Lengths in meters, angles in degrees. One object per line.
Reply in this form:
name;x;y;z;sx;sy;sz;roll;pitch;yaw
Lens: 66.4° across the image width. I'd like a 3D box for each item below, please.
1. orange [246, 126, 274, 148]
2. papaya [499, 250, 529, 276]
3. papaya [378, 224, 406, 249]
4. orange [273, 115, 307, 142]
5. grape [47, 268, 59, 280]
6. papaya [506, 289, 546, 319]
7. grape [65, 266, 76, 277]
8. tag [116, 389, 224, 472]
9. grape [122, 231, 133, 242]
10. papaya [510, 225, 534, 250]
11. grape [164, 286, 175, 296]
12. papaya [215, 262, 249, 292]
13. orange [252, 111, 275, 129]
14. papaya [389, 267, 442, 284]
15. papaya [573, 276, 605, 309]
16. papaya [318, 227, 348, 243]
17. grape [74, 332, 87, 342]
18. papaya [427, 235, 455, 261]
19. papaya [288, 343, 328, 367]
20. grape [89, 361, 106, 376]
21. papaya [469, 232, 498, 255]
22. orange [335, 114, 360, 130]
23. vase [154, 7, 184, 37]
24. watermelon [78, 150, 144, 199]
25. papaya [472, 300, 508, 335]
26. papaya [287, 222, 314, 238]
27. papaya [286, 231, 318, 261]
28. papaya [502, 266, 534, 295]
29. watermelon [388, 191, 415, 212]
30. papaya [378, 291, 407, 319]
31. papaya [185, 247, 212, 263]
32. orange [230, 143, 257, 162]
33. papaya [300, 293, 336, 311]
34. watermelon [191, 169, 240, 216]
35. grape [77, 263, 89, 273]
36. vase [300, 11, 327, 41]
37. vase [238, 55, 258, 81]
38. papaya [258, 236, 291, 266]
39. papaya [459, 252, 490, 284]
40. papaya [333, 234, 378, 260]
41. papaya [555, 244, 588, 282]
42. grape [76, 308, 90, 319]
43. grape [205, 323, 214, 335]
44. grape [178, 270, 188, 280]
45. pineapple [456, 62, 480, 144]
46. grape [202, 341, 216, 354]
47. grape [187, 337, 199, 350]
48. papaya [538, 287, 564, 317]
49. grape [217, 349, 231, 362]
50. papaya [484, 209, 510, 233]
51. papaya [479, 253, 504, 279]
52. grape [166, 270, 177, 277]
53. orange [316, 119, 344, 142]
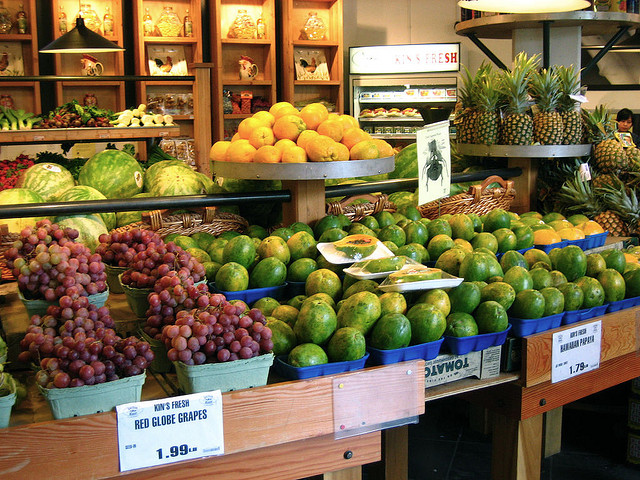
orange;-0.226;-0.391;1.850;0.100;0.077;0.094;-3;14;-7
papaya;0.652;0.075;1.651;0.067;0.086;0.069;-24;-17;17
papaya;0.264;-0.023;1.762;0.085;0.091;0.082;6;19;17
orange;-0.115;-0.421;1.853;0.129;0.095;0.085;-2;14;-1
grape;-0.673;0.086;1.231;0.026;0.029;0.026;6;5;37
papaya;0.598;0.194;1.451;0.095;0.069;0.069;-28;43;22
grape;-0.626;0.079;1.224;0.024;0.027;0.025;14;9;-41
tag;-0.323;0.405;1.036;0.209;0.130;0.009;-4;0;-20
grape;-0.564;-0.009;1.424;0.028;0.025;0.027;7;30;26
papaya;0.788;-0.006;1.945;0.092;0.102;0.086;2;-10;-5
grape;-0.366;0.124;1.184;0.020;0.017;0.019;-6;11;-6
papaya;-0.265;0.098;1.465;0.086;0.078;0.085;-7;18;-32
orange;-0.220;-0.466;1.903;0.068;0.072;0.084;25;-7;-27
papaya;0.277;0.103;1.413;0.156;0.023;0.073;-2;14;0
papaya;0.851;0.159;1.532;0.098;0.110;0.100;2;5;27
papaya;0.045;-0.017;1.739;0.072;0.051;0.050;-7;-13;-6
grape;-0.509;0.205;1.036;0.019;0.018;0.021;-24;49;1
papaya;0.420;0.022;1.777;0.092;0.099;0.090;-8;12;-25
papaya;-0.030;0.280;1.175;0.067;0.048;0.051;-12;16;-18
grape;-0.454;0.264;1.007;0.027;0.025;0.027;7;-6;8
papaya;0.598;0.005;1.810;0.084;0.093;0.079;2;18;10
orange;0.109;-0.475;1.988;0.095;0.085;0.085;2;11;5
vase;-1.999;-2.869;6.477;0.408;0.413;0.374;4;12;10
watermelon;-1.109;-0.326;2.680;0.349;0.313;0.339;-4;15;-21
papaya;0.480;0.216;1.377;0.094;0.083;0.057;-2;14;0
papaya;-0.071;-0.044;1.804;0.058;0.064;0.056;-29;38;32
papaya;-0.055;0.016;1.650;0.100;0.106;0.092;0;9;4
papaya;0.609;0.120;1.495;0.091;0.096;0.082;4;20;14
watermelon;0.408;-0.188;2.454;0.101;0.070;0.125;0;7;2
papaya;0.195;0.180;1.339;0.068;0.073;0.059;8;-19;-5
papaya;-0.397;0.049;1.597;0.045;0.035;0.062;15;-15;37
orange;-0.282;-0.319;1.835;0.075;0.076;0.089;-19;-22;-17
papaya;-0.004;0.161;1.362;0.061;0.066;0.063;4;7;41
watermelon;-0.456;-0.260;2.325;0.216;0.225;0.234;-12;21;-34
grape;-0.608;0.074;1.254;0.022;0.025;0.022;5;0;36
vase;-0.095;-3.097;7.077;0.331;0.419;0.237;-11;16;-34
vase;-1.026;-2.445;6.934;0.250;0.374;0.310;-3;14;-6
papaya;-0.146;0.025;1.647;0.094;0.106;0.092;-19;20;-40
papaya;0.479;0.089;1.508;0.100;0.111;0.090;-1;9;24
papaya;0.119;0.020;1.623;0.108;0.056;0.145;-11;17;-35
papaya;0.849;0.077;1.700;0.122;0.135;0.115;1;10;19
grape;-0.538;0.168;1.107;0.022;0.024;0.020;1;3;8
grape;-0.238;0.195;1.064;0.021;0.022;0.019;-1;4;6
grape;-0.349;0.089;1.241;0.021;0.023;0.020;-22;36;-27
pineapple;0.828;-0.761;2.745;0.096;0.411;0.112;7;17;22
grape;-0.241;0.233;1.057;0.021;0.020;0.027;20;44;15
grape;-0.271;0.222;1.046;0.022;0.024;0.021;7;24;9
papaya;0.689;0.182;1.443;0.083;0.092;0.074;-1;-7;-4
grape;-0.210;0.251;1.061;0.026;0.028;0.025;-12;31;-40
papaya;0.701;-0.086;1.961;0.098;0.109;0.093;8;15;25
papaya;0.542;0.092;1.596;0.055;0.058;0.086;18;40;-34
grape;-0.383;0.088;1.258;0.017;0.019;0.017;-2;-1;16
orange;0.045;-0.416;1.855;0.102;0.099;0.104;-6;-5;4
